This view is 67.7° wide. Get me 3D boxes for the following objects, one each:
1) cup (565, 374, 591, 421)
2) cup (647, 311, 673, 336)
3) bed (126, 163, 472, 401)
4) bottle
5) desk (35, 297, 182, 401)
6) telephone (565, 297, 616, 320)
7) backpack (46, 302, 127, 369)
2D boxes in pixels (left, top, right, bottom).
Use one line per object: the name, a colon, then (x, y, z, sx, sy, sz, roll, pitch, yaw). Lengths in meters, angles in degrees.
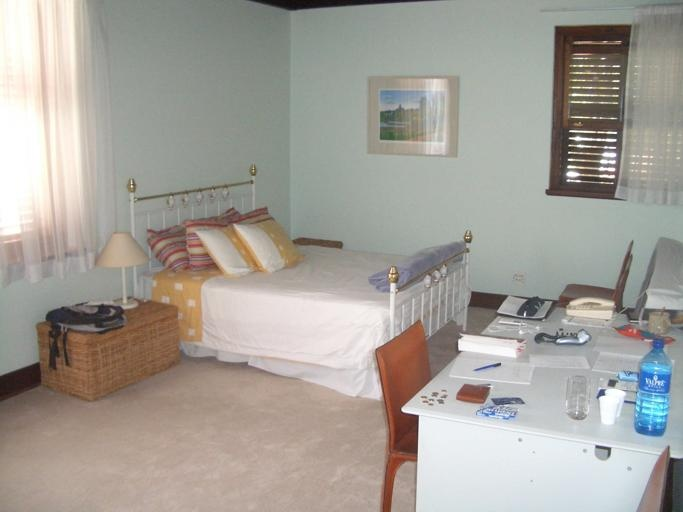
cup: (0.954, 0.562, 2.050, 0.108, 0.168, 0.102, -3, 12, 1)
cup: (1.764, 0.383, 2.898, 0.118, 0.140, 0.125, 0, 3, 0)
bed: (-0.436, 0.249, 4.798, 2.443, 1.637, 1.943, 8, 20, 24)
bottle: (1.212, 0.506, 1.991, 0.117, 0.329, 0.292, 5, 14, 34)
desk: (-1.889, 0.742, 4.294, 0.576, 0.567, 0.960, 6, 8, 23)
telephone: (1.533, 0.294, 3.164, 0.231, 0.115, 0.141, 6, 15, 22)
backpack: (-1.961, 0.557, 4.011, 0.496, 0.384, 0.510, 2, 2, 25)
